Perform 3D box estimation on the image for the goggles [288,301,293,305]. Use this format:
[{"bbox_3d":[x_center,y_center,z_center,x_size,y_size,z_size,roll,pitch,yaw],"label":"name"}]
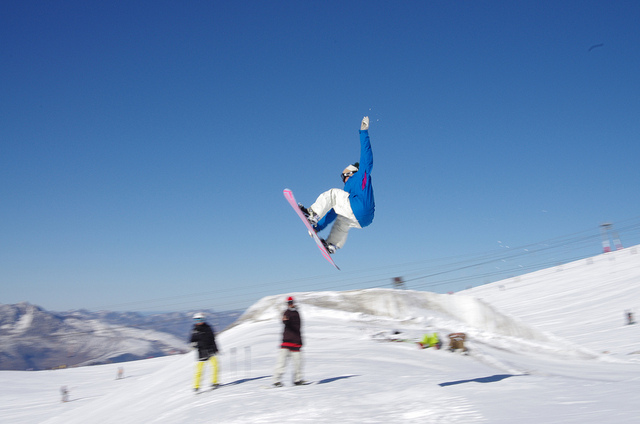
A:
[{"bbox_3d":[-0.907,2.792,13.975,0.151,0.080,0.086,6,-2,-21],"label":"goggles"}]
